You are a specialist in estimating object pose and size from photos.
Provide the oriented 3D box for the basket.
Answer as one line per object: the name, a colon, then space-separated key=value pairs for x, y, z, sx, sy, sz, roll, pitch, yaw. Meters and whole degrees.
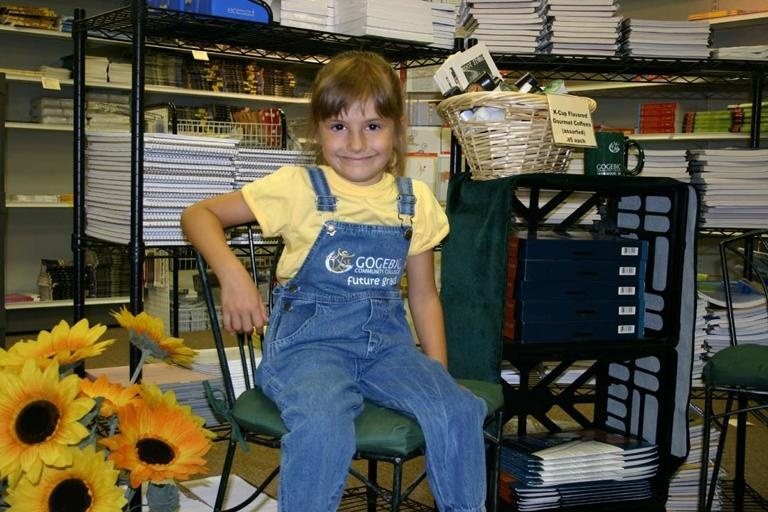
basket: x=0.406 y=-0.367 z=2.279 sx=0.396 sy=0.159 sz=0.389 roll=2 pitch=5 yaw=31
